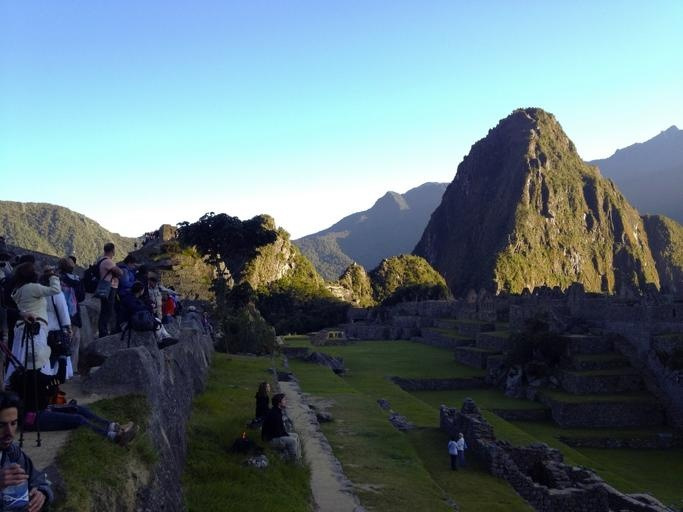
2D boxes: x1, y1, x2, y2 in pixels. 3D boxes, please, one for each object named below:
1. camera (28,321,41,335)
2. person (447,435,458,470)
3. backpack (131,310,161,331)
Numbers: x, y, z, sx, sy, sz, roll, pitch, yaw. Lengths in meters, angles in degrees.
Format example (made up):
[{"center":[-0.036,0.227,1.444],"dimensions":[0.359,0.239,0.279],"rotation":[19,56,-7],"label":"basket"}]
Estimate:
[{"center":[-4.852,1.150,7.343],"dimensions":[0.135,0.237,0.308],"rotation":[1,-9,-10],"label":"camera"},{"center":[4.352,7.737,18.046],"dimensions":[0.330,1.025,0.775],"rotation":[-2,-9,15],"label":"person"},{"center":[-4.355,1.473,10.410],"dimensions":[0.375,0.207,0.497],"rotation":[-11,2,4],"label":"backpack"}]
